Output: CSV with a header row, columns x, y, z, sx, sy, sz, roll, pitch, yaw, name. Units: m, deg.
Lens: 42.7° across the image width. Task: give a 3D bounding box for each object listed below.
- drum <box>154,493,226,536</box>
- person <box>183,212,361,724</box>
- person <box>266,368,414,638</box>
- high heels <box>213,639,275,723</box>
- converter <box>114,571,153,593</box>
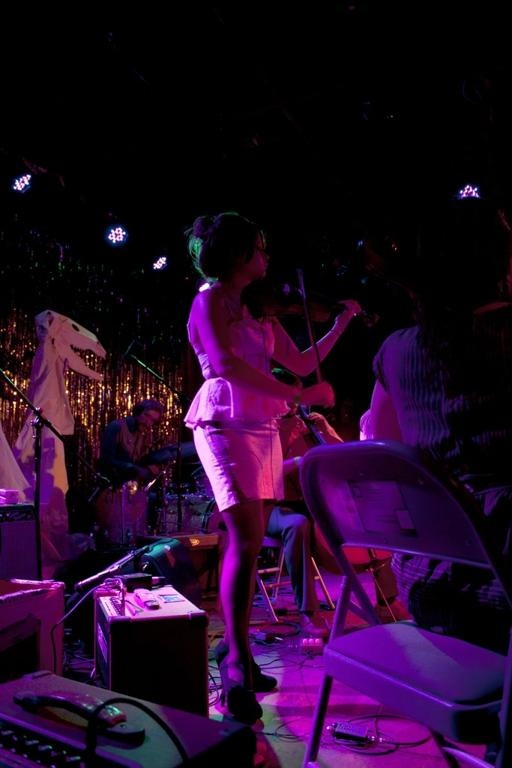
x,y,z,sx,sy,sz,roll,pitch,yaw,name
-0.531,1.014,5.117,0.482,0.343,0.393,-2,-4,16,drum
0.112,0.208,2.303,0.679,1.703,0.563,6,-11,-35,person
0.290,0.724,3.645,0.636,1.548,0.463,-13,0,-36,person
-0.034,0.999,2.116,0.109,0.149,0.347,-4,-33,-9,high heels
-0.450,0.725,2.401,0.122,0.053,0.135,8,-13,-27,converter
